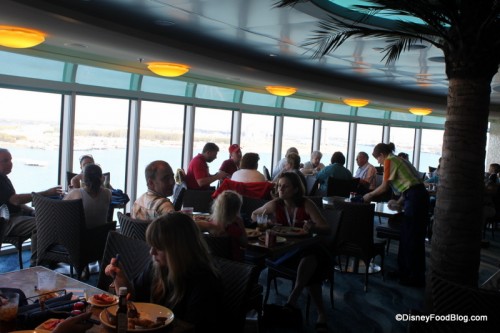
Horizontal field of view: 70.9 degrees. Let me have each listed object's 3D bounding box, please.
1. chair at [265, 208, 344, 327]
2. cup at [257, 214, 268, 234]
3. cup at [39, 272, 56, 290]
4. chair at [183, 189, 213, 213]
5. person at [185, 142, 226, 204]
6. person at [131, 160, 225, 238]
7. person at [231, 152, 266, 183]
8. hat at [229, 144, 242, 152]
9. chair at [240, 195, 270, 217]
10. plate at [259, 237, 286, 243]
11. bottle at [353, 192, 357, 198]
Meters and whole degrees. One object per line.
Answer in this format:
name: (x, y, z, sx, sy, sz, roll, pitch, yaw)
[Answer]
chair: (0.628, 1.166, 4.172, 0.825, 1.185, 1.406, 9, 10, 16)
cup: (0.138, 0.685, 4.235, 0.186, 0.246, 0.180, -1, 1, 0)
cup: (-1.513, 0.847, 2.600, 0.132, 0.120, 0.121, 1, -6, 0)
chair: (-0.988, 0.639, 6.734, 0.521, 0.370, 0.505, 3, 4, 9)
person: (-0.912, -0.015, 7.097, 0.847, 0.832, 1.176, 3, 6, -6)
person: (-0.830, 0.340, 3.692, 1.029, 0.783, 0.644, -8, 10, -16)
person: (-0.084, 0.022, 6.363, 0.780, 0.641, 0.411, 3, 7, 8)
hat: (-0.356, -0.415, 7.821, 0.256, 0.124, 0.173, -15, -9, 44)
chair: (0.059, 0.567, 5.039, 0.356, 0.224, 0.272, 9, -5, -2)
plate: (0.245, 0.812, 3.905, 0.320, 0.042, 0.159, 3, 9, -12)
bottle: (1.923, 0.531, 6.472, 0.089, 0.075, 0.147, -1, -3, 9)
